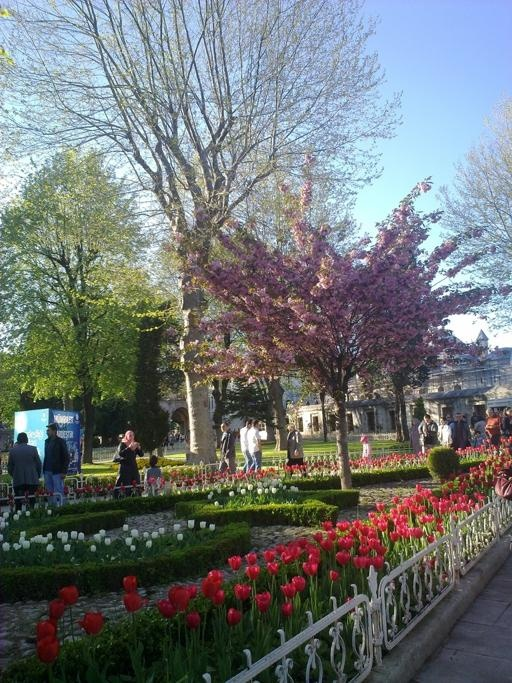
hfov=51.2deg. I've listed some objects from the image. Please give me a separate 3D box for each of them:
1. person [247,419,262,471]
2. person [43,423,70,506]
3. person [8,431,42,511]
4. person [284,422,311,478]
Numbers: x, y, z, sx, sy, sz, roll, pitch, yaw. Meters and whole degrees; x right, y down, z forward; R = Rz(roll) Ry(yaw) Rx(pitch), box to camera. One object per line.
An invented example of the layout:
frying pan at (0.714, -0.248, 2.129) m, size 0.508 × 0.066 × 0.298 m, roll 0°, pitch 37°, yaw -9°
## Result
person at (-0.055, 2.663, 13.835) m, size 0.322 × 1.247 × 0.965 m, roll -4°, pitch -9°, yaw -2°
person at (-4.150, 2.550, 11.032) m, size 0.466 × 1.680 × 1.012 m, roll 0°, pitch -10°, yaw -21°
person at (-4.420, 2.461, 10.163) m, size 0.577 × 1.424 × 1.002 m, roll 0°, pitch -10°, yaw -21°
person at (1.009, 2.774, 13.750) m, size 0.481 × 1.292 × 1.439 m, roll -4°, pitch -9°, yaw 3°
